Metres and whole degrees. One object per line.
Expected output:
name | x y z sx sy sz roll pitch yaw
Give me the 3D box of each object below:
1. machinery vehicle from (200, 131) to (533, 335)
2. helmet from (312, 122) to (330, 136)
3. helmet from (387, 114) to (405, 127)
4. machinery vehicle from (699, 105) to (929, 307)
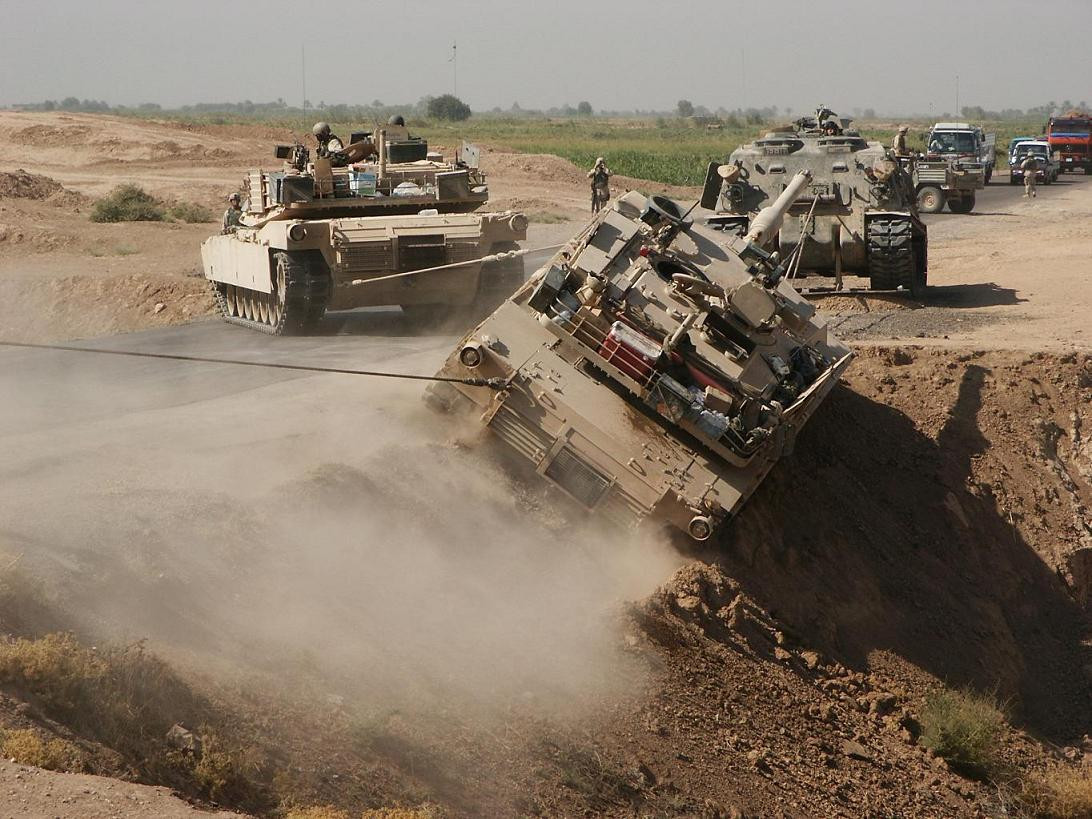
machinery vehicle | -3.055 -2.883 20.159 3.134 2.759 4.780 -2 8 -17
helmet | -3.669 -4.597 19.992 0.200 0.206 0.247 3 41 22
helmet | -2.577 -5.025 21.188 0.230 0.158 0.242 -11 23 -27
machinery vehicle | 4.923 -3.468 20.432 3.496 3.406 6.371 1 6 6
